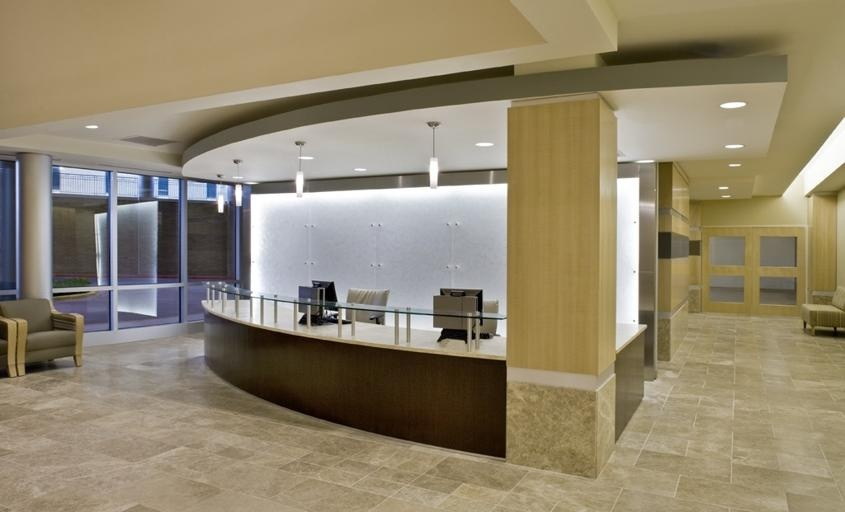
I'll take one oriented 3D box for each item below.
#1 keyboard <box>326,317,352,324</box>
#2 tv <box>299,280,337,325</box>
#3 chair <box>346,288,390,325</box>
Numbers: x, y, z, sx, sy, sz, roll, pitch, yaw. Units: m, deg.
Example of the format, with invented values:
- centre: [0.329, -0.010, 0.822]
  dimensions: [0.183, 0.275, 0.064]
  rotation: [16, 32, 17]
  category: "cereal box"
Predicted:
- centre: [-1.313, 0.996, 8.704]
  dimensions: [0.404, 0.102, 0.126]
  rotation: [2, 10, 12]
  category: "keyboard"
- centre: [-1.623, 0.749, 8.684]
  dimensions: [0.703, 0.676, 0.560]
  rotation: [1, 1, 30]
  category: "tv"
- centre: [-1.031, 0.907, 10.121]
  dimensions: [0.679, 0.725, 0.650]
  rotation: [-2, -6, 28]
  category: "chair"
